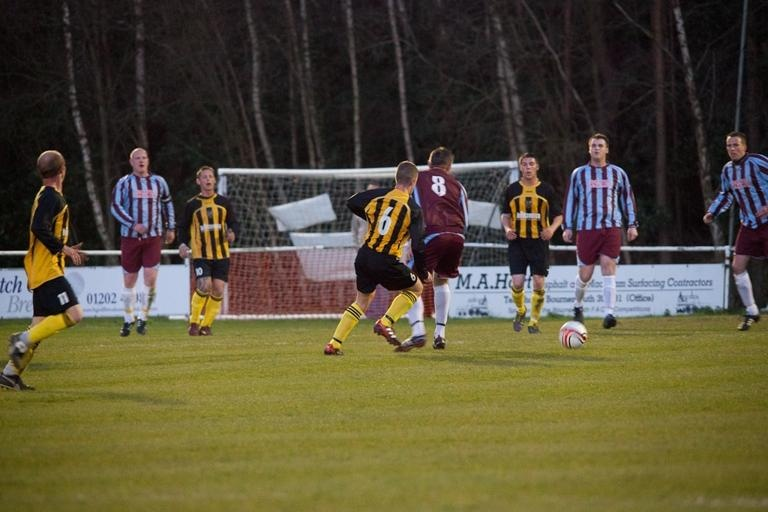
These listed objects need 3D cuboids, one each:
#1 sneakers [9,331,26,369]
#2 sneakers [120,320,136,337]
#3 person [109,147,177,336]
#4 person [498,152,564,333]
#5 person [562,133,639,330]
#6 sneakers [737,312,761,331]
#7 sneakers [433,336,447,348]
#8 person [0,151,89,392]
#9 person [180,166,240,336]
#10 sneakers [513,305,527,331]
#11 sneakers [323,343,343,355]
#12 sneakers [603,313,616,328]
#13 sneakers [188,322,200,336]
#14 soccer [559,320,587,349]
[{"bbox_3d":[-5.651,1.461,17.672,0.269,0.537,0.204,5,4,-2],"label":"sneakers"},{"bbox_3d":[-4.906,1.450,21.907,0.222,0.161,0.454,5,-19,-14],"label":"sneakers"},{"bbox_3d":[-4.564,-0.254,21.770,1.098,3.550,0.780,-2,2,-14],"label":"person"},{"bbox_3d":[2.755,-0.232,21.444,1.043,3.332,0.649,-1,2,10],"label":"person"},{"bbox_3d":[3.971,-0.431,21.127,1.314,3.607,0.720,-1,2,6],"label":"person"},{"bbox_3d":[6.724,1.231,21.104,0.372,0.170,0.122,-42,17,-15],"label":"sneakers"},{"bbox_3d":[0.945,1.489,19.561,0.200,0.263,0.270,-1,3,0],"label":"sneakers"},{"bbox_3d":[-5.309,0.226,17.812,1.111,3.704,0.369,-2,2,-18],"label":"person"},{"bbox_3d":[-3.332,-0.080,21.771,1.085,3.204,0.591,-2,2,-6],"label":"person"},{"bbox_3d":[2.531,1.224,21.718,0.188,0.516,0.229,7,-12,20],"label":"sneakers"},{"bbox_3d":[-0.854,1.575,19.246,0.297,0.269,0.175,1,1,-2],"label":"sneakers"},{"bbox_3d":[4.151,1.239,21.084,0.141,0.164,0.358,0,-19,1],"label":"sneakers"},{"bbox_3d":[-3.605,1.408,21.825,0.227,0.226,0.596,1,-4,-23],"label":"sneakers"},{"bbox_3d":[3.173,1.305,19.354,0.451,0.438,0.462,-4,23,6],"label":"soccer"}]
